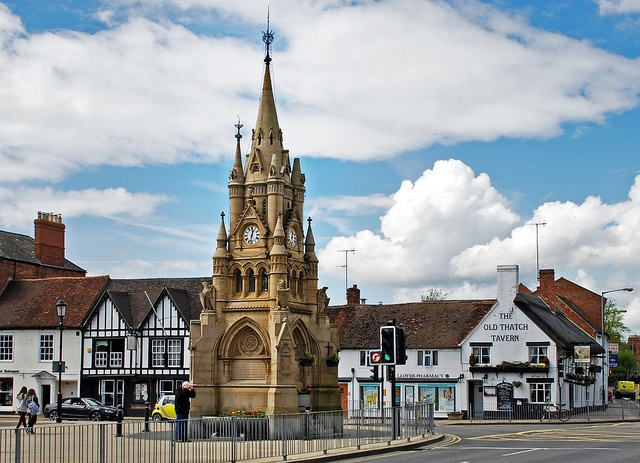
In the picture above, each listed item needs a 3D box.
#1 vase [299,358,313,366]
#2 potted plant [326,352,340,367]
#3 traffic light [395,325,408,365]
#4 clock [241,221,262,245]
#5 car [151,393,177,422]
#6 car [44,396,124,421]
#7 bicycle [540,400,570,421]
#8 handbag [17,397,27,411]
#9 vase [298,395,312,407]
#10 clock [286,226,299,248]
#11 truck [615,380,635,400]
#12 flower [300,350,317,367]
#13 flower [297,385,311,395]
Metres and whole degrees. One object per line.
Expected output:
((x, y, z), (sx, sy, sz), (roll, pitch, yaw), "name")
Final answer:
((-0.743, 7.344, 72.384), (0.466, 0.244, 0.575), (-7, -11, 28), "vase")
((0.721, 7.371, 73.904), (0.461, 0.827, 0.760), (-12, -17, 42), "potted plant")
((4.139, 5.879, 66.953), (0.500, 1.948, 0.623), (0, -13, -3), "traffic light")
((-3.801, 0.034, 72.600), (1.126, 1.040, 0.063), (22, -9, 4), "clock")
((-9.499, 10.777, 78.901), (1.283, 1.555, 2.049), (1, -12, -7), "car")
((-15.603, 11.773, 84.736), (4.281, 1.244, 1.824), (-2, -6, 10), "car")
((16.269, 12.626, 89.676), (1.282, 1.408, 2.480), (-1, 1, 32), "bicycle")
((-16.814, 9.850, 73.391), (0.478, 1.104, 1.019), (1, -12, -7), "handbag")
((-0.857, 9.466, 71.946), (0.676, 0.412, 0.663), (0, 0, -42), "vase")
((-1.590, 0.257, 73.079), (0.125, 1.217, 1.305), (-3, -4, 22), "clock")
((31.587, 16.549, 134.034), (1.732, 1.184, 2.427), (0, -2, 10), "truck")
((-0.655, 7.155, 72.521), (0.986, 0.633, 0.827), (3, -11, -17), "flower")
((-0.872, 8.942, 72.234), (0.444, 0.318, 0.498), (-7, -9, 41), "flower")
